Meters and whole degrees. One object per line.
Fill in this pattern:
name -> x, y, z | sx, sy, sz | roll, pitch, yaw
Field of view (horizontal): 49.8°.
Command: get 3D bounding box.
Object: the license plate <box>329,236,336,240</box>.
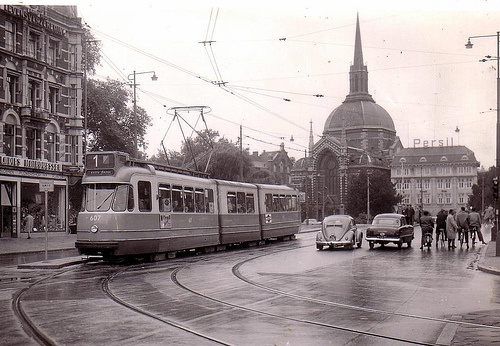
license plate -> 4.714, 3.698, 30.682 | 0.293, 0.202, 0.159 | 0, -9, 6

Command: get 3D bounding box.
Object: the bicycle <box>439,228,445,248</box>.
bicycle -> 11.547, 3.895, 32.367 | 0.244, 1.029, 1.733 | -2, -6, 20

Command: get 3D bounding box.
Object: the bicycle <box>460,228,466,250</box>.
bicycle -> 12.536, 3.828, 31.744 | 0.244, 1.137, 2.238 | -2, -7, 21

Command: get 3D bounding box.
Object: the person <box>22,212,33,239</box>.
person -> -17.216, 4.135, 41.735 | 0.424, 1.693, 0.941 | -2, -6, 17

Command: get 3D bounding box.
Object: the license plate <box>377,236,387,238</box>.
license plate -> 7.618, 3.683, 31.067 | 0.524, 0.112, 0.101 | -2, -6, 13

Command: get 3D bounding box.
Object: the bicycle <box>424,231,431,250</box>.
bicycle -> 10.103, 3.796, 30.523 | 0.186, 1.010, 0.522 | -2, -6, 19

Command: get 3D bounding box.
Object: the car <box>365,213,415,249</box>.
car -> 8.292, 3.410, 31.995 | 1.758, 2.121, 3.022 | -5, -8, 40
